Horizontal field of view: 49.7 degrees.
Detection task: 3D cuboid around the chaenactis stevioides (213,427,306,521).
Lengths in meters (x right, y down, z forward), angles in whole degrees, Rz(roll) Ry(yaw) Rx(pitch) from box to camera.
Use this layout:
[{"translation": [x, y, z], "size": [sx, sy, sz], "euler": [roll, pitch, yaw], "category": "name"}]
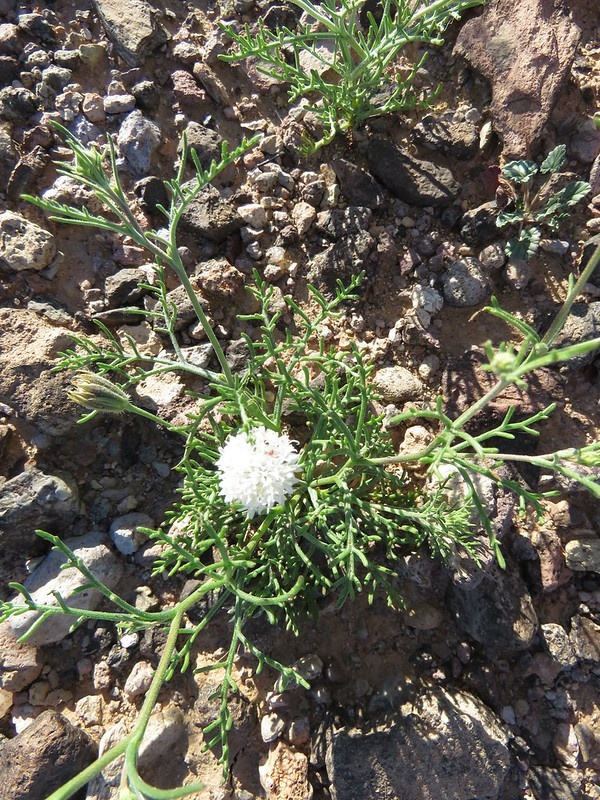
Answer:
[{"translation": [-0.133, 0.245, 2.112], "size": [0.249, 0.453, 0.269], "euler": [26, 78, 6], "category": "chaenactis stevioides"}]
